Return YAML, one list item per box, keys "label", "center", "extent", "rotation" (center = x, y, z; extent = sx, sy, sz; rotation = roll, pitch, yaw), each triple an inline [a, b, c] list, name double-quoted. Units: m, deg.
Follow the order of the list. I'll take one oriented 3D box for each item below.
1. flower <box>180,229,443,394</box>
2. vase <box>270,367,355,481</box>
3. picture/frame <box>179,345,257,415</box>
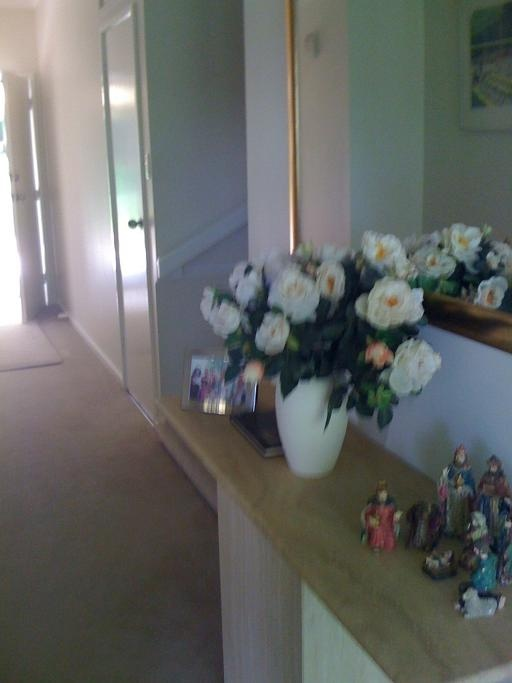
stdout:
- label: "flower"
  center: [0.083, -0.015, 0.771]
  extent: [0.359, 0.280, 0.191]
  rotation: [2, 9, 24]
- label: "vase"
  center: [0.086, 0.119, 0.883]
  extent: [0.120, 0.254, 0.139]
  rotation: [0, 18, 1]
- label: "picture/frame"
  center: [-0.096, 0.101, 1.186]
  extent: [0.103, 0.028, 0.180]
  rotation: [-4, 59, 19]
